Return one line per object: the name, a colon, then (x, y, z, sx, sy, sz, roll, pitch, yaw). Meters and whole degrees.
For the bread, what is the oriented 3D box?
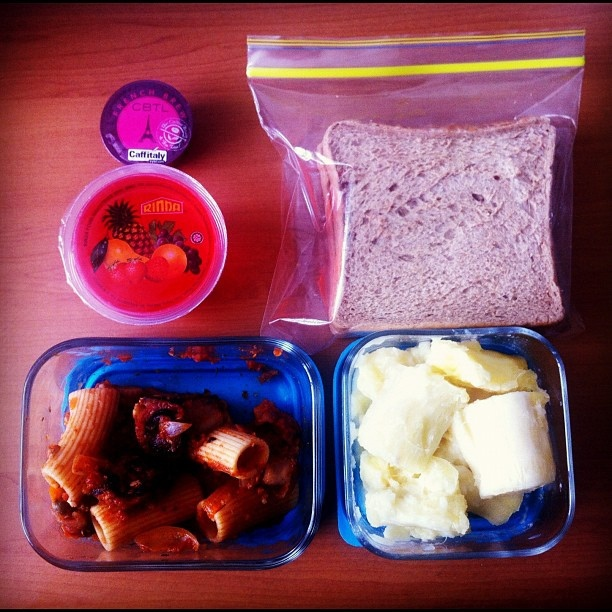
bread: (0.292, -0.171, 1.473, 0.505, 0.211, 0.399, -3, 75, 2)
